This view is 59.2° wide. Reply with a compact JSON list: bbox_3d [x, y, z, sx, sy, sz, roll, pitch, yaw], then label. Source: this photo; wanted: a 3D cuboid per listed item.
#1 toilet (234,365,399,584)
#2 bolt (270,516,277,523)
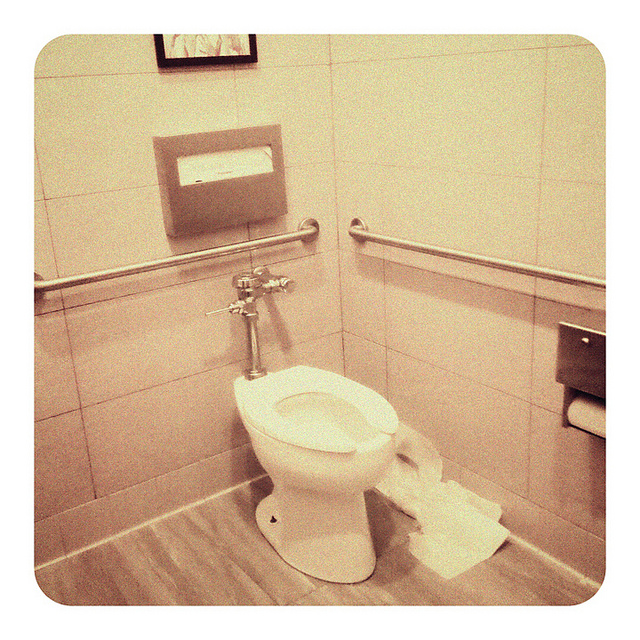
[{"bbox_3d":[-0.008,0.321,1.492,0.338,0.459,0.488,-15,31,-32],"label":"toilet"},{"bbox_3d":[-0.115,0.489,1.386,0.011,0.012,0.011,0,11,15],"label":"bolt"}]
